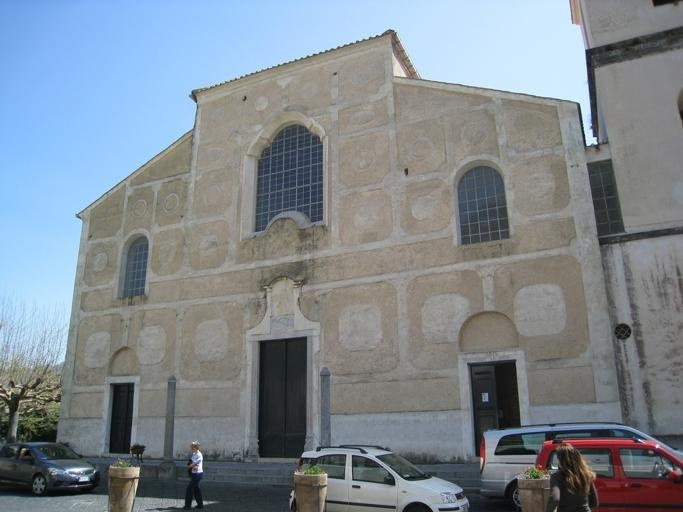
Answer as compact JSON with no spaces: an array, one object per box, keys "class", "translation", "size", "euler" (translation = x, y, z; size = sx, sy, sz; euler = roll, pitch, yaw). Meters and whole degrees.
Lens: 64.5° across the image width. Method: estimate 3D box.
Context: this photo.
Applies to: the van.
[{"class":"van","translation":[5.284,4.717,12.925],"size":[4.166,1.650,2.296],"euler":[-11,-18,20]}]
